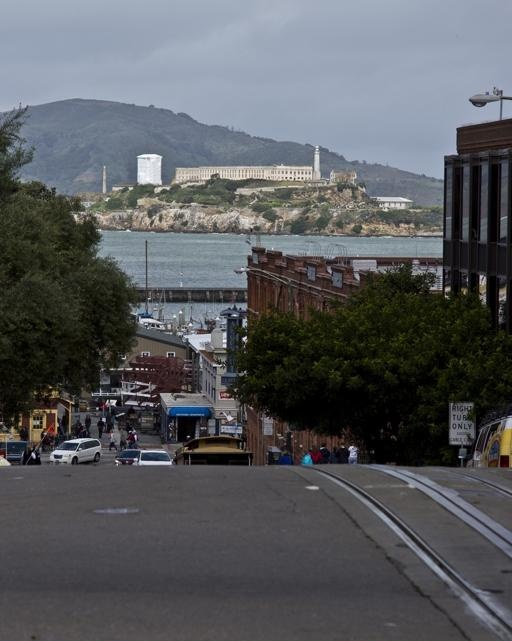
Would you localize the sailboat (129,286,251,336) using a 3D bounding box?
[{"bbox_3d":[-10.140,-5.003,210.035,16.448,4.604,52.277,-1,-2,-1],"label":"sailboat"}]

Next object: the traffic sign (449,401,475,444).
[{"bbox_3d":[4.452,2.264,27.688,0.563,0.958,0.746,-1,-2,9],"label":"traffic sign"}]
